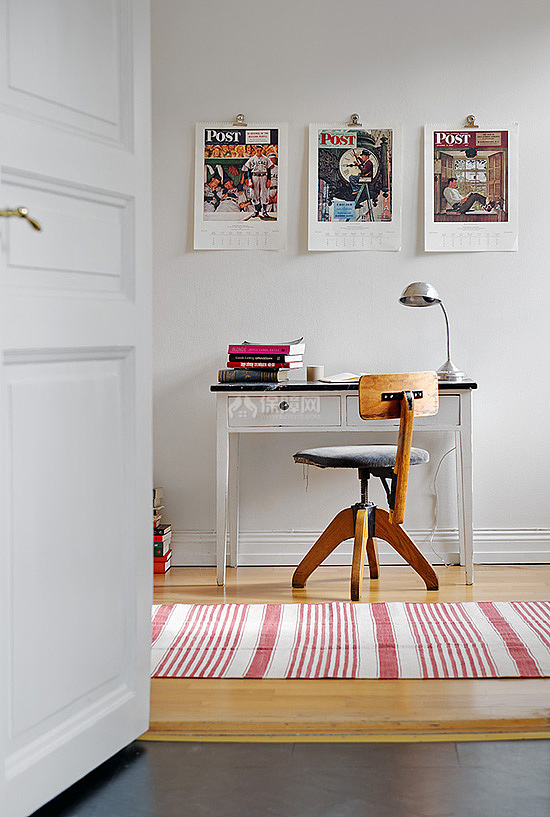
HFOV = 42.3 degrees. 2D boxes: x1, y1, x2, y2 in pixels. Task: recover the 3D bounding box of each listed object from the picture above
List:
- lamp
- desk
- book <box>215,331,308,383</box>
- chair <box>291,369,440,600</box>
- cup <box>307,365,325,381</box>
[{"bbox_3d":[0.606,-0.293,2.768,0.228,0.383,0.361,-1,1,12],"label":"lamp"},{"bbox_3d":[0.280,0.275,2.668,0.695,0.564,0.278,0,-2,2],"label":"desk"},{"bbox_3d":[-0.047,-0.179,2.683,0.327,0.168,0.173,-1,1,-9],"label":"book"},{"bbox_3d":[0.350,0.260,2.464,0.463,0.753,0.509,-1,1,-31],"label":"chair"},{"bbox_3d":[0.158,-0.140,2.760,0.055,0.044,0.057,-1,5,0],"label":"cup"}]
